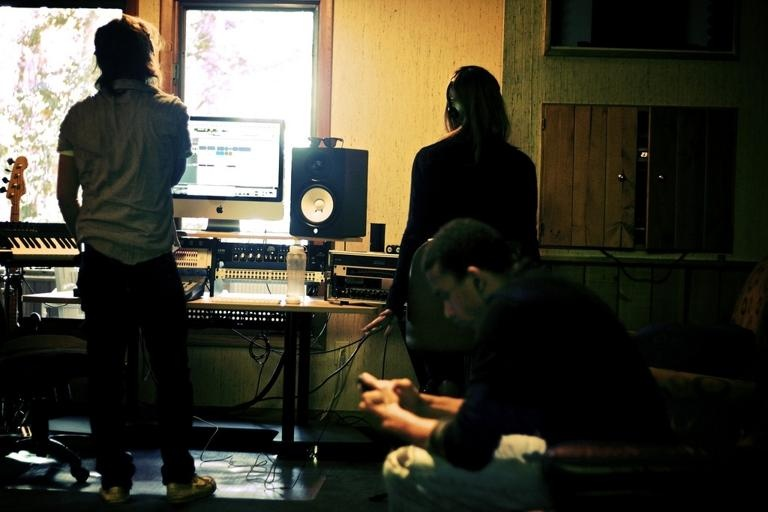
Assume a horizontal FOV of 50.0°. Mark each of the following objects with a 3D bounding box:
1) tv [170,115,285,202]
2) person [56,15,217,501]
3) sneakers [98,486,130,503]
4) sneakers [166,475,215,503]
[{"bbox_3d":[-0.969,-0.576,4.987,0.556,0.391,0.058,1,-2,1],"label":"tv"},{"bbox_3d":[-1.320,0.037,4.345,0.758,2.500,0.359,-1,6,-17],"label":"person"},{"bbox_3d":[-1.422,1.243,4.325,0.142,0.063,0.073,9,5,25],"label":"sneakers"},{"bbox_3d":[-1.045,1.243,4.442,0.116,0.106,0.234,2,4,42],"label":"sneakers"}]
